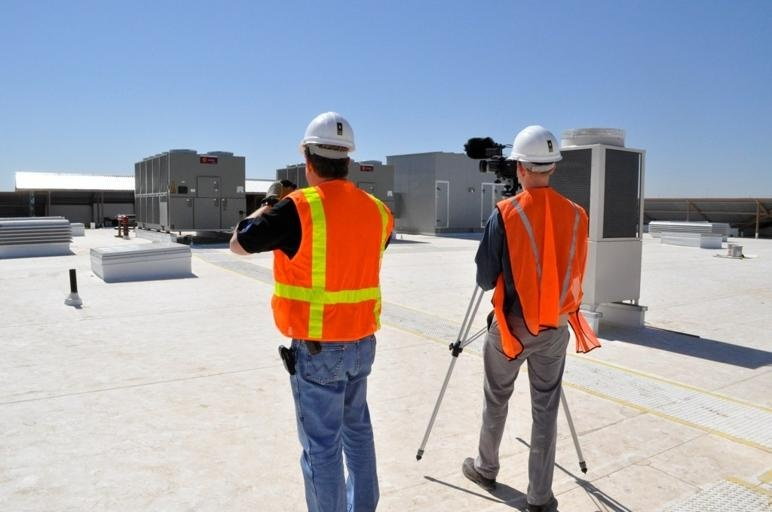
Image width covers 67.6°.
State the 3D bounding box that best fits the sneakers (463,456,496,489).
[{"bbox_3d":[0.845,2.066,5.432,0.148,0.160,0.349,10,23,-48],"label":"sneakers"}]

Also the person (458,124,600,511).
[{"bbox_3d":[1.304,0.517,5.260,0.951,3.308,1.011,8,16,30],"label":"person"}]
